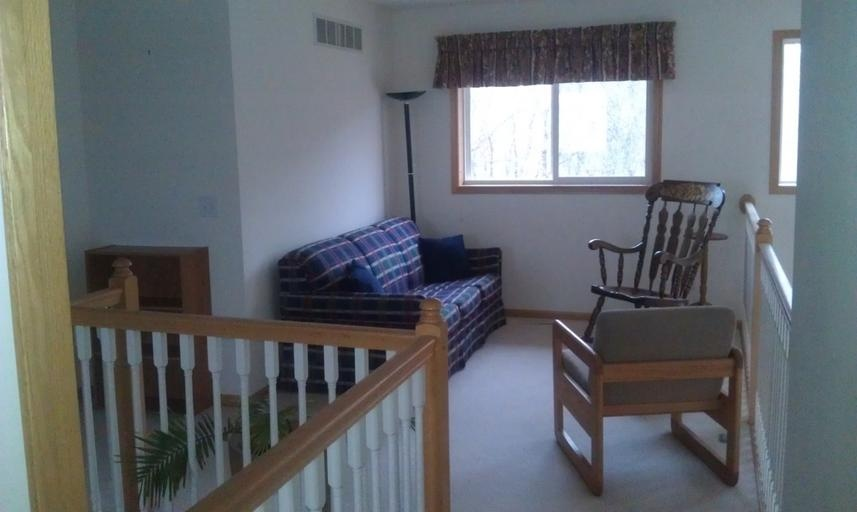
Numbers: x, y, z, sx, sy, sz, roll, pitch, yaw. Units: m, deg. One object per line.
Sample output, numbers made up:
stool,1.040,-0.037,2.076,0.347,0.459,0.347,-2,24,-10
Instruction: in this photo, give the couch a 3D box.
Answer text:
couch,-0.250,0.307,5.388,1.239,1.069,1.880,3,10,22

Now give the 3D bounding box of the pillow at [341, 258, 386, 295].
pillow,-0.495,0.161,4.793,0.300,0.217,0.284,4,11,28
